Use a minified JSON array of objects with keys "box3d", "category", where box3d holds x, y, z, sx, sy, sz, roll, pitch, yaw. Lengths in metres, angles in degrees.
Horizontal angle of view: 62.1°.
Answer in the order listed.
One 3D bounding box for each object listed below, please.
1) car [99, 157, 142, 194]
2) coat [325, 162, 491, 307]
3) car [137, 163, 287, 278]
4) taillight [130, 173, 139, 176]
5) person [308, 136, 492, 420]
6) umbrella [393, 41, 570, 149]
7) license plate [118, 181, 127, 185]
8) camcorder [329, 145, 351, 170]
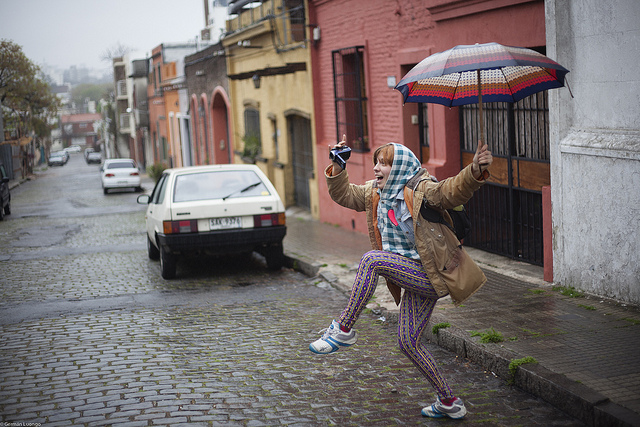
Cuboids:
[{"box3d":[-11.549,-2.095,30.648,2.024,1.773,2.307,-7,9,-22],"category":"car"},{"box3d":[0.961,0.070,5.036,0.645,1.610,1.763,-26,16,-37],"category":"coat"},{"box3d":[-2.082,0.185,10.491,2.777,2.180,1.612,-4,8,-1],"category":"car"},{"box3d":[-10.563,-2.195,30.027,0.424,0.158,0.077,-9,9,-29],"category":"taillight"},{"box3d":[0.786,0.659,5.014,1.473,2.612,0.760,-3,7,5],"category":"person"},{"box3d":[1.527,-1.175,5.367,1.272,0.763,1.295,2,1,13],"category":"umbrella"},{"box3d":[-11.085,-1.694,29.725,0.472,0.210,0.102,-7,8,-20],"category":"license plate"},{"box3d":[0.188,-0.537,5.096,0.126,0.104,0.227,-27,29,-12],"category":"camcorder"}]
